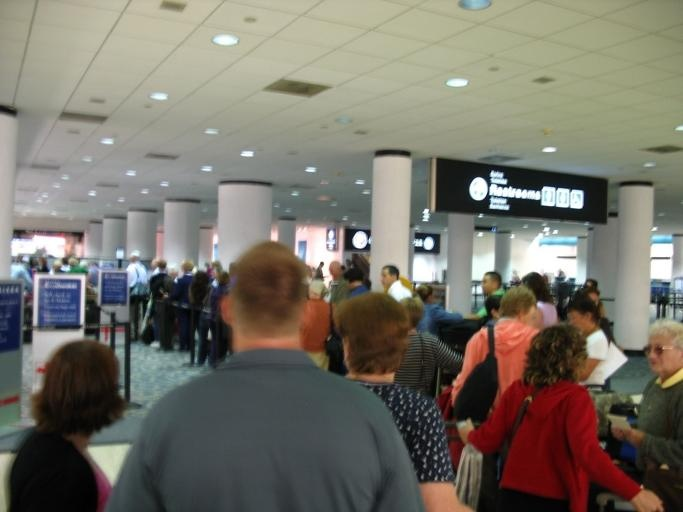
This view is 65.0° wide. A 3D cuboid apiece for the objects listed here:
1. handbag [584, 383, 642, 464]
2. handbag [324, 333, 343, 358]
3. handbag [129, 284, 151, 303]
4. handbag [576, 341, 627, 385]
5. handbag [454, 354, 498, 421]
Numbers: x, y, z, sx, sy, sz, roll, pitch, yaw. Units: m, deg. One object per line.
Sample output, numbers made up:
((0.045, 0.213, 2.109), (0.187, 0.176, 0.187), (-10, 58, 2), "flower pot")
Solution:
((1.915, 1.146, 3.719), (0.297, 0.368, 0.841), (-9, -6, 26), "handbag")
((-0.071, 0.964, 5.812), (0.167, 0.224, 0.249), (-8, -5, 10), "handbag")
((-5.111, 0.971, 13.647), (0.180, 0.564, 0.610), (12, 8, 42), "handbag")
((2.120, 0.867, 4.332), (0.609, 0.257, 0.120), (-3, -7, -39), "handbag")
((0.940, 0.884, 3.661), (0.249, 0.417, 0.100), (26, -7, -30), "handbag")
